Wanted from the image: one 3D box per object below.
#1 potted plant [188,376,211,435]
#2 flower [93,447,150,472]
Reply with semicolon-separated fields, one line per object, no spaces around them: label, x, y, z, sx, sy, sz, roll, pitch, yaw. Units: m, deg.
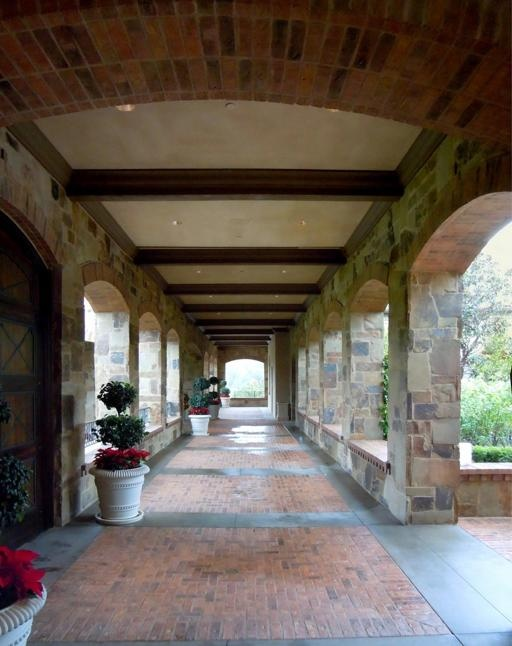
potted plant;-1.578;2.264;12.216;0.582;1.515;1.365;1;-7;-6
flower;-1.431;1.396;4.580;0.290;0.146;0.313;1;-7;13
